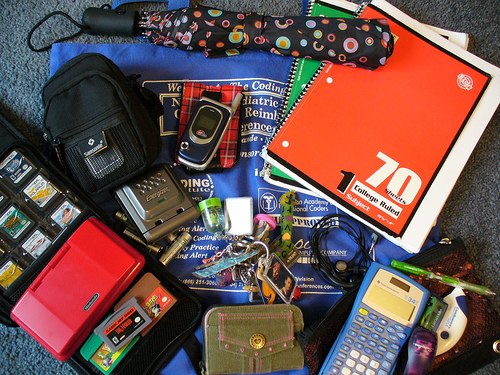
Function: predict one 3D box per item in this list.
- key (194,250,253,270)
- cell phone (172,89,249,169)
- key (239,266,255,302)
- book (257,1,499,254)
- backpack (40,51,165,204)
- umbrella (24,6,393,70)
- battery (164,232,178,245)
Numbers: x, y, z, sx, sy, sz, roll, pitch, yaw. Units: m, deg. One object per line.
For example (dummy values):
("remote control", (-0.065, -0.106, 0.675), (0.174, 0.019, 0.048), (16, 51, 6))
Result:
("key", (-0.061, 0.175, 1.096), (0.144, 0.043, 0.033), (-17, 57, -10))
("cell phone", (-0.114, -0.150, 1.214), (0.130, 0.076, 0.246), (24, 86, 3))
("key", (0.001, 0.251, 1.167), (0.042, 0.018, 0.084), (-16, 94, 31))
("book", (0.365, -0.181, 1.208), (0.461, 0.290, 0.568), (32, 63, 20))
("backpack", (-0.362, -0.132, 1.105), (0.251, 0.149, 0.295), (-30, 98, 5))
("umbrella", (-0.092, -0.402, 1.223), (0.618, 0.115, 0.159), (4, 50, 1))
("battery", (-0.200, 0.132, 1.158), (0.023, 0.026, 0.027), (32, 59, 28))
